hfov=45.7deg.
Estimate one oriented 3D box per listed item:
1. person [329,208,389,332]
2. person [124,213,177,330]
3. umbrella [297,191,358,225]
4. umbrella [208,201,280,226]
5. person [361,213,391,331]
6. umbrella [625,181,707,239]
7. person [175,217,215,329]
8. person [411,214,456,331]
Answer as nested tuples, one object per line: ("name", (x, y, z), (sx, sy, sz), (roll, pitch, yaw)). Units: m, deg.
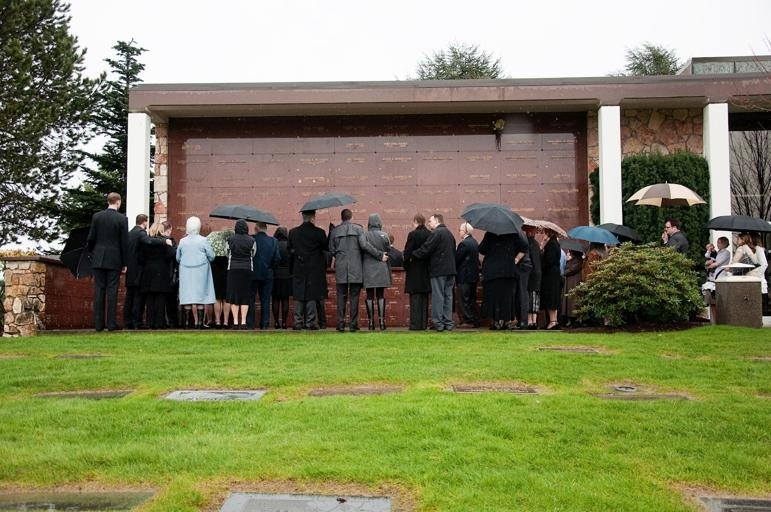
("person", (-0.635, 0.360, 18.620), (1.023, 2.518, 1.241), (-1, 15, -4))
("person", (-4.868, 0.315, 18.388), (0.869, 2.231, 0.711), (-6, 15, -21))
("umbrella", (-1.281, -1.042, 18.493), (0.826, 0.273, 0.801), (-16, -2, -40))
("umbrella", (-2.867, -0.807, 18.636), (1.236, 0.396, 0.714), (-1, 15, -2))
("person", (-0.231, 0.327, 18.805), (0.704, 2.335, 0.638), (0, -1, -15))
("umbrella", (6.081, -1.102, 19.836), (1.301, 1.163, 1.310), (1, -4, -25))
("person", (-3.824, 0.374, 18.553), (0.761, 2.320, 0.946), (-1, 14, -4))
("person", (1.045, 0.467, 18.533), (0.718, 2.039, 0.634), (0, 14, 2))
